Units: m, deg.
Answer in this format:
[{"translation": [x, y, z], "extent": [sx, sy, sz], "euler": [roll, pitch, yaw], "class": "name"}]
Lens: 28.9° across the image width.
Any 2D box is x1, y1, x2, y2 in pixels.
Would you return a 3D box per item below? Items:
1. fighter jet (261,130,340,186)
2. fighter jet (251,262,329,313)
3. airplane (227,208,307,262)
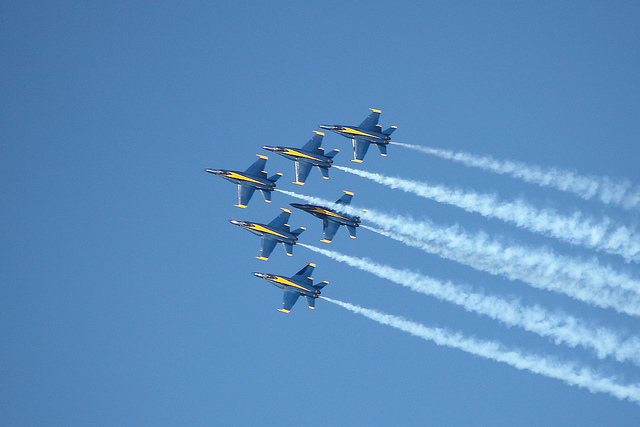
[{"translation": [-1.483, -5.950, 130.934], "extent": [8.057, 2.019, 6.601], "euler": [20, 95, 9], "class": "fighter jet"}, {"translation": [-2.262, 7.212, 132.909], "extent": [7.599, 1.693, 6.080], "euler": [21, 84, 17], "class": "fighter jet"}, {"translation": [-4.863, 1.516, 129.865], "extent": [8.351, 1.725, 7.118], "euler": [18, 82, 4], "class": "airplane"}]
